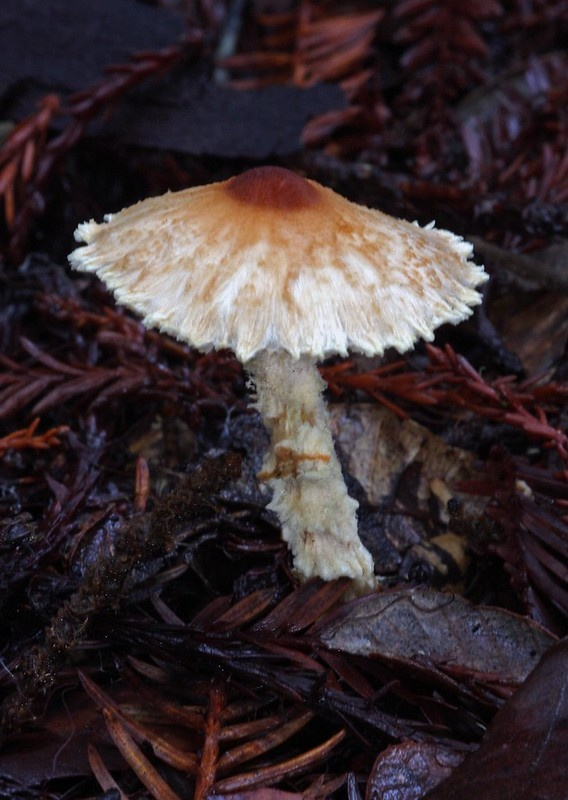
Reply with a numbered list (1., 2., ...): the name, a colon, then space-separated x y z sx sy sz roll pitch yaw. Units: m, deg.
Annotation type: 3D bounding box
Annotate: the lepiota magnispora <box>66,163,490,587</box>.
1. lepiota magnispora: -0.015 -0.043 1.407 0.672 0.646 0.466 2 33 8
